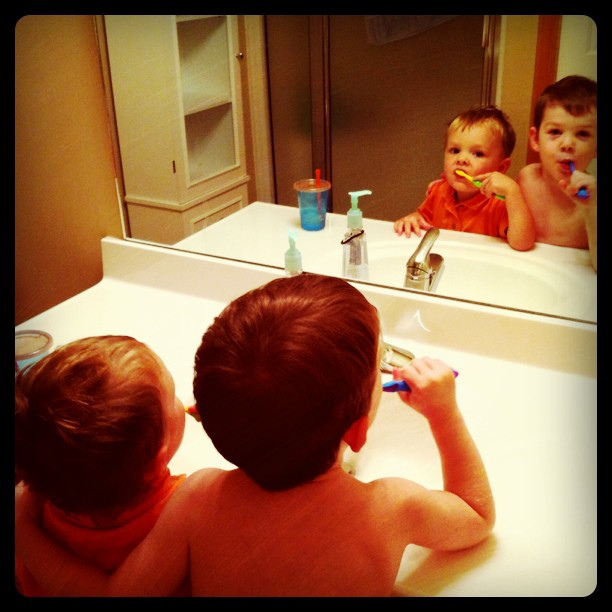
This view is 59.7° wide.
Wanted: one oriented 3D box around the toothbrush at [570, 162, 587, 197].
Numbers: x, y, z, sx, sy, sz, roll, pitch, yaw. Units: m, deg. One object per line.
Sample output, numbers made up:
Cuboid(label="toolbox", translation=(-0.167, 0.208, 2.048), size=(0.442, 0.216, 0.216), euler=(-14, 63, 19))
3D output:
Cuboid(label="toothbrush", translation=(0.403, -0.174, 0.789), size=(0.016, 0.070, 0.017), euler=(4, -10, -35))

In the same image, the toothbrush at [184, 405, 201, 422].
Cuboid(label="toothbrush", translation=(-0.160, 0.156, 0.773), size=(0.021, 0.032, 0.011), euler=(31, 68, 32))

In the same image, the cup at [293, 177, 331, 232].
Cuboid(label="cup", translation=(0.016, -0.197, 1.005), size=(0.072, 0.090, 0.080), euler=(3, 31, 6))
